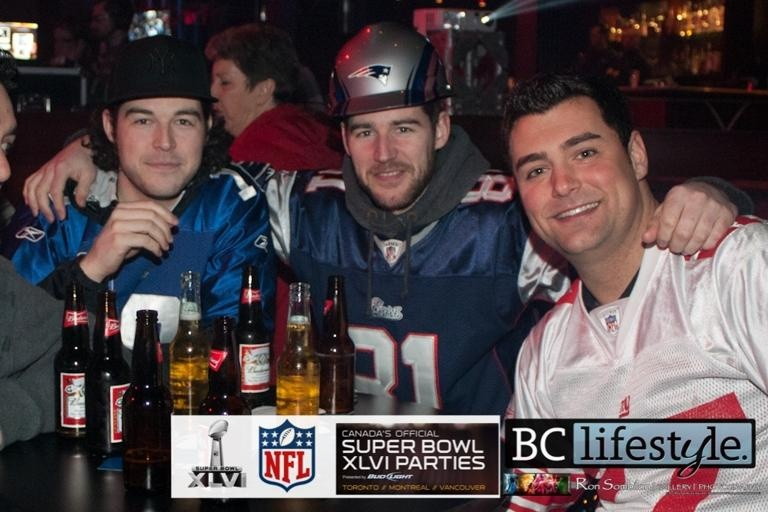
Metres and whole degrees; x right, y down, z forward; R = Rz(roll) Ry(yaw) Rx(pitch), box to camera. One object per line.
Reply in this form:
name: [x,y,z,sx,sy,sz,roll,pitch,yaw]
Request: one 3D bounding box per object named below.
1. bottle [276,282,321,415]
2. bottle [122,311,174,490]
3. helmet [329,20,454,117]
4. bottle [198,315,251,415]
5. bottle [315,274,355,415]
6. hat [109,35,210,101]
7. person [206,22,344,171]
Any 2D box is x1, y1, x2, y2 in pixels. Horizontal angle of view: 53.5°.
bottle: [-0.275,0.290,2.402,0.136,0.410,0.259,-2,-3,-5]
bottle: [-0.694,0.425,2.231,0.135,0.528,0.082,-1,-3,-17]
helmet: [0.020,-0.764,3.214,0.466,0.308,0.589,-4,8,27]
bottle: [-0.482,0.332,2.306,0.147,0.290,0.111,-2,-3,-13]
bottle: [-0.162,0.296,2.556,0.123,0.453,0.181,-2,-3,-8]
hat: [-0.916,-0.770,3.155,0.445,0.235,0.470,-3,16,-20]
person: [-0.537,-0.833,4.725,0.914,1.007,0.965,0,7,-27]
